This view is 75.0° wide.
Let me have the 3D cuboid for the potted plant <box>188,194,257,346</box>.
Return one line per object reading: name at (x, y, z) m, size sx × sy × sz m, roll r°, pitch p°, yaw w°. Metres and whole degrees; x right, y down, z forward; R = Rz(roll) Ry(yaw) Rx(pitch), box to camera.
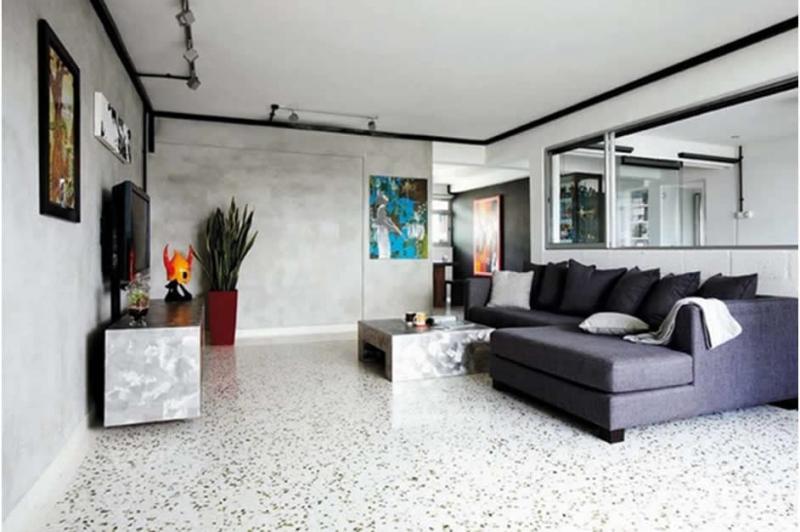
potted plant at (-2.315, 0.079, 6.963) m, size 0.861 × 1.865 × 0.905 m, roll -5°, pitch 13°, yaw -20°
